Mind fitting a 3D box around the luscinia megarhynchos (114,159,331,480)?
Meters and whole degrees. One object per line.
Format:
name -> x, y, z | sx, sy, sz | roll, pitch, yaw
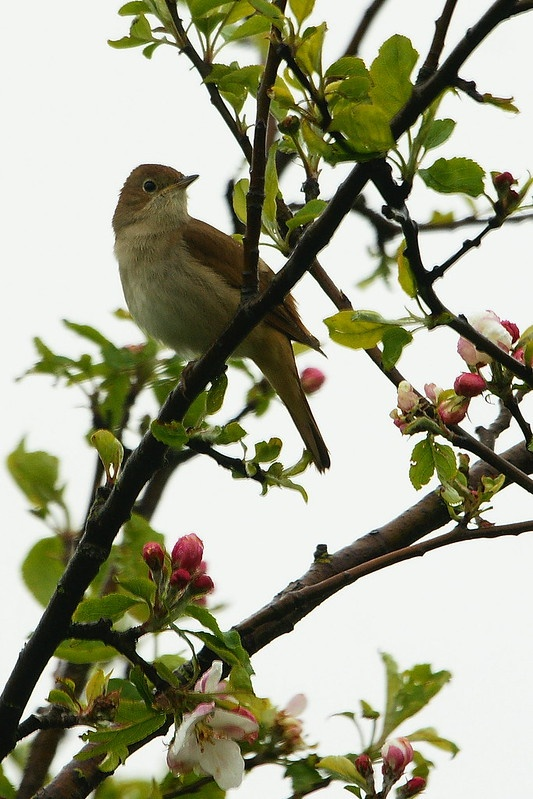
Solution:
luscinia megarhynchos -> -0.129, -0.201, 3.045 | 0.280, 1.040, 0.518 | -35, -31, 2
